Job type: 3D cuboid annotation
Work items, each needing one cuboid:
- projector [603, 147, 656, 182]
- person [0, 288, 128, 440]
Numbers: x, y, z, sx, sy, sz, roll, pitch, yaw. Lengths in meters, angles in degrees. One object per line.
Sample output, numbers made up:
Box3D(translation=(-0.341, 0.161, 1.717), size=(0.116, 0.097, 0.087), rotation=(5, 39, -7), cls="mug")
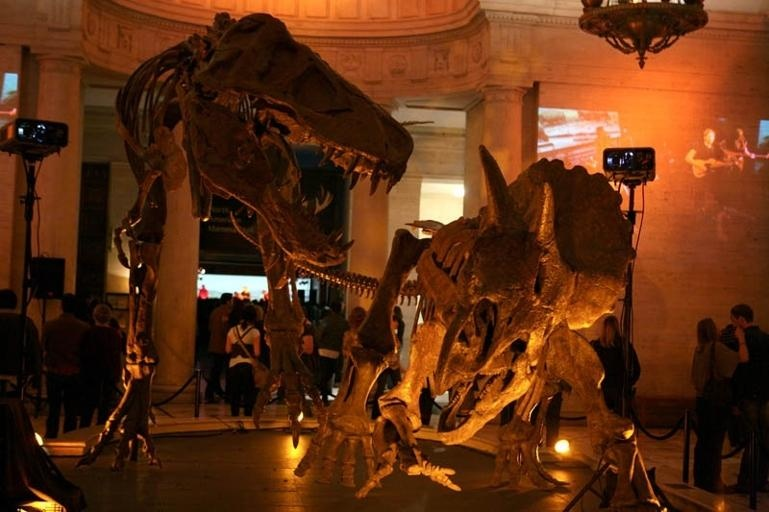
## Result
Box3D(translation=(3.225, -1.206, 11.428), size=(0.657, 0.445, 0.266), rotation=(0, 1, 10), cls="projector")
Box3D(translation=(-4.079, 1.475, 11.680), size=(1.073, 1.869, 0.648), rotation=(0, 1, 8), cls="person")
